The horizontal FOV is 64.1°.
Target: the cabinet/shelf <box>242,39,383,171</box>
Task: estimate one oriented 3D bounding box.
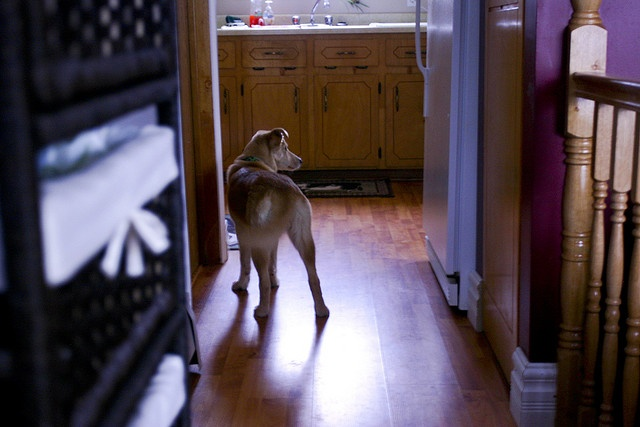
[{"bbox_3d":[0.008,-0.921,4.924,1.470,1.483,0.887,-1,10,2],"label":"cabinet/shelf"}]

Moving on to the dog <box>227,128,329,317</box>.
[{"bbox_3d":[-0.217,0.021,2.381,0.352,0.770,0.888,-3,10,-15],"label":"dog"}]
